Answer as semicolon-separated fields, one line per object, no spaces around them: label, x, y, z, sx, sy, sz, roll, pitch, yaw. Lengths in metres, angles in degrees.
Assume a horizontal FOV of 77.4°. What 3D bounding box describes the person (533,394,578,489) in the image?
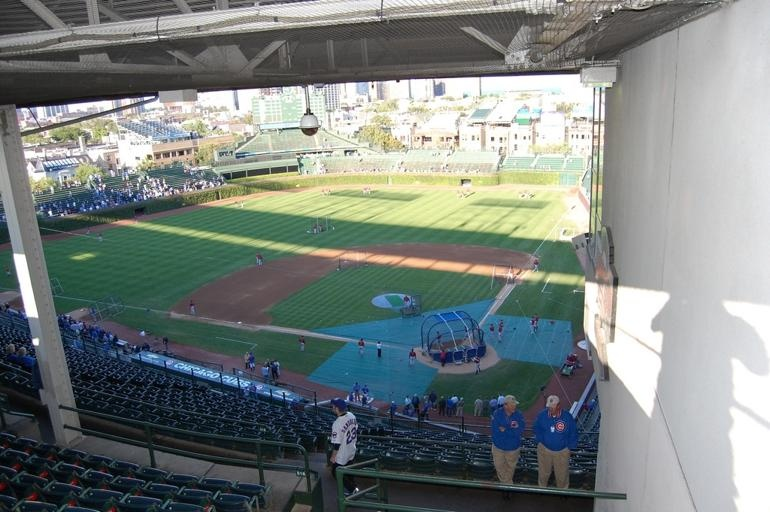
person;2.687;3.004;7.658;0.655;1.914;0.560;3;18;20

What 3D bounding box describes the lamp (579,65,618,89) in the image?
lamp;3.258;-2.754;7.349;0.576;0.299;0.309;0;16;9

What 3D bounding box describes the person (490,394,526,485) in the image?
person;1.985;3.082;7.849;0.486;1.857;0.731;1;17;14
